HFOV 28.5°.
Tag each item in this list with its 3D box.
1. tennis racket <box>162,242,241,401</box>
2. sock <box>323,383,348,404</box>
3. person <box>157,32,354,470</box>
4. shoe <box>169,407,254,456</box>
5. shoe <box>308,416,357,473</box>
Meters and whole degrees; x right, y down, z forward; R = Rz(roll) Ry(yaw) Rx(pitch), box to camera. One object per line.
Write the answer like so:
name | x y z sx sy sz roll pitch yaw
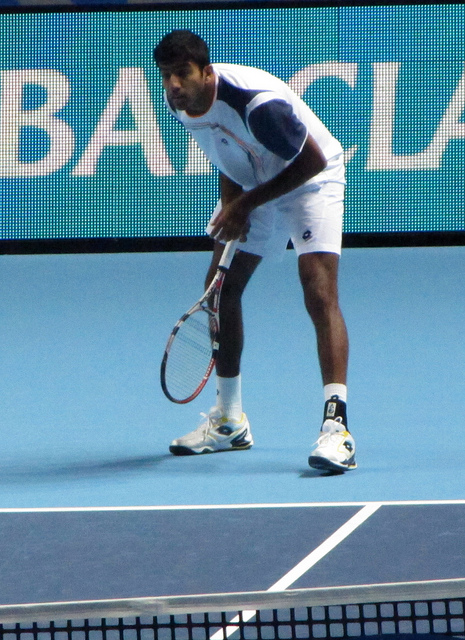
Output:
tennis racket | -0.069 -0.062 2.964 0.166 0.716 0.057 20 -28 -2
sock | 0.310 0.219 2.708 0.055 0.058 0.052 -2 -4 -2
person | 0.064 -0.209 2.837 0.589 1.303 0.694 -1 7 7
shoe | -0.060 0.369 2.955 0.296 0.152 0.119 1 -10 -24
shoe | 0.286 0.366 2.607 0.105 0.163 0.176 0 7 20
